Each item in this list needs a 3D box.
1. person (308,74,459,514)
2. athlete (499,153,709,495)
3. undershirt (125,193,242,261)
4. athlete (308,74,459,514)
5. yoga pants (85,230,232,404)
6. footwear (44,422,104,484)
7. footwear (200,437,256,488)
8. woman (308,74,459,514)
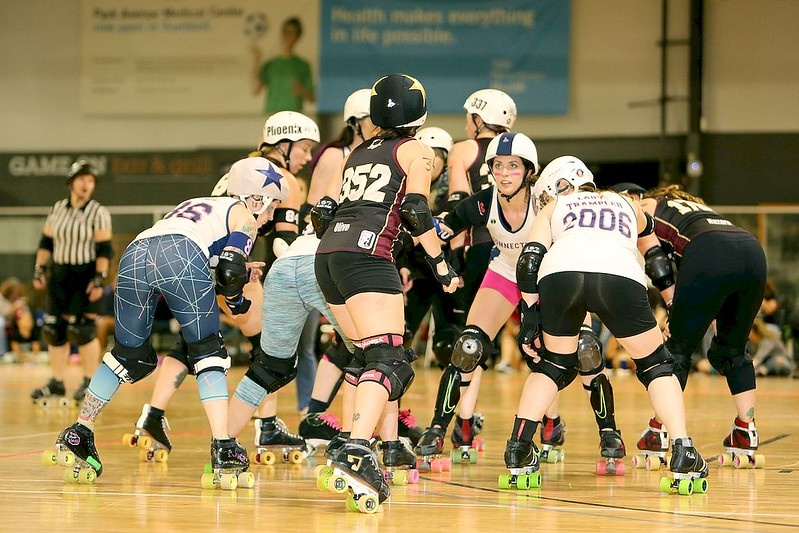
[{"bbox_3d":[-0.272,0.184,10.398,0.943,4.020,1.349,7,10,44],"label":"person"},{"bbox_3d":[2.123,0.502,11.085,1.864,3.570,1.974,1,-17,2],"label":"athlete"},{"bbox_3d":[-2.080,-0.250,10.861,0.630,0.950,0.526,9,-40,18],"label":"undershirt"},{"bbox_3d":[-0.273,0.184,10.400,0.949,4.020,1.349,7,10,44],"label":"athlete"},{"bbox_3d":[-2.369,0.369,10.215,1.079,1.884,0.840,0,-2,2],"label":"yoga pants"},{"bbox_3d":[-3.185,1.860,10.750,0.318,0.425,0.580,5,-32,43],"label":"footwear"},{"bbox_3d":[-1.746,1.872,10.811,0.359,0.526,0.720,-1,10,4],"label":"footwear"},{"bbox_3d":[-0.274,0.183,10.401,0.951,4.020,1.343,7,10,44],"label":"woman"}]
